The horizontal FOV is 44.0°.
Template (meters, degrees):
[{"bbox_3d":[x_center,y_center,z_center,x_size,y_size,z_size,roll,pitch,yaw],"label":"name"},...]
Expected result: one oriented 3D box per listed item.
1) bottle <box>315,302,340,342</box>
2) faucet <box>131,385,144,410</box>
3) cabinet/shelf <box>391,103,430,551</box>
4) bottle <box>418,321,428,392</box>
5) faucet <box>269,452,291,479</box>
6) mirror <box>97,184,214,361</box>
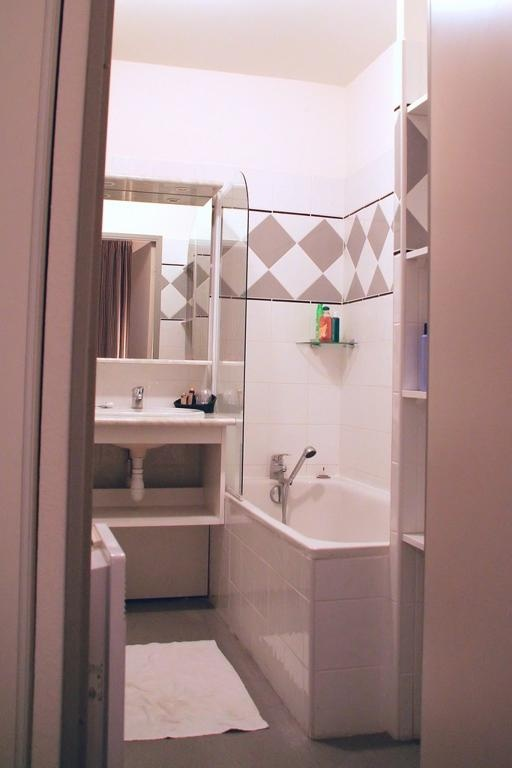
[{"bbox_3d":[0.353,-0.301,3.145,0.121,0.203,0.139,1,-1,6],"label":"bottle"},{"bbox_3d":[-0.518,0.062,2.752,0.040,0.094,0.052,1,-1,-12],"label":"faucet"},{"bbox_3d":[0.430,-0.172,1.766,0.087,1.229,0.149,0,-1,12],"label":"cabinet/shelf"},{"bbox_3d":[0.457,-0.075,1.738,0.020,0.192,0.078,0,-1,9],"label":"bottle"},{"bbox_3d":[0.101,0.399,3.039,0.072,0.134,0.109,2,-6,-25],"label":"faucet"},{"bbox_3d":[-0.528,-0.358,2.713,0.304,0.629,0.457,-8,5,-15],"label":"mirror"}]
